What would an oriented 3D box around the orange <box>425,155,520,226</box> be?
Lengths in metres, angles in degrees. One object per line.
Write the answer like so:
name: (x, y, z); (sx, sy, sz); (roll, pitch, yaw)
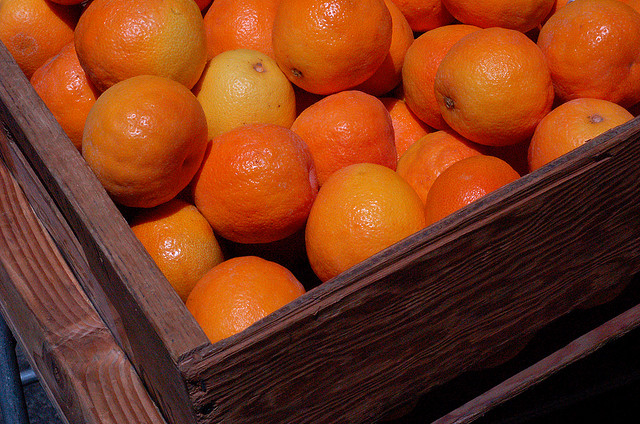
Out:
orange: (0.275, -0.073, 1.218); (0.171, 0.126, 0.195); (9, 26, 9)
